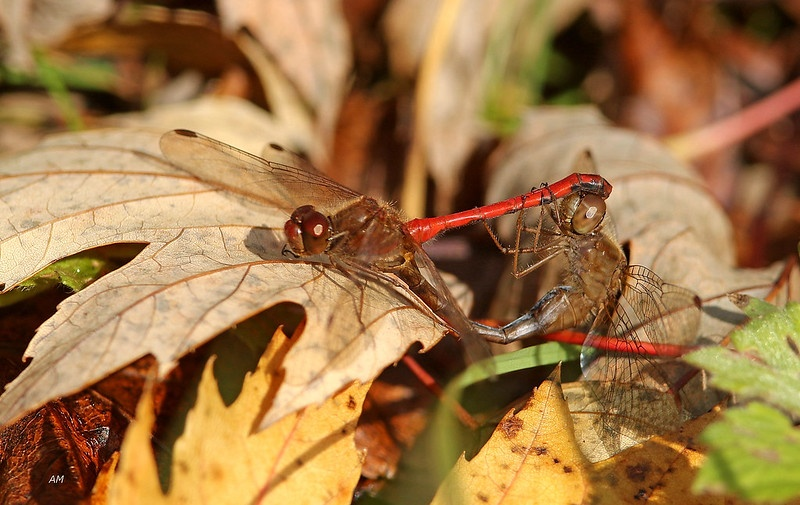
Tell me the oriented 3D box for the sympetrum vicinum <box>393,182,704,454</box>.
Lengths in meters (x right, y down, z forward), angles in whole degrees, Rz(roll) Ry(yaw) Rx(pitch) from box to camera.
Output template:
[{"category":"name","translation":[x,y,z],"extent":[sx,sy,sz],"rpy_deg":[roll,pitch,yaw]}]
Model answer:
[{"category":"sympetrum vicinum","translation":[0.753,0.380,3.995],"extent":[0.832,1.702,1.688],"rpy_deg":[2,1,6]}]

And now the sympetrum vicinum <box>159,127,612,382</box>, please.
[{"category":"sympetrum vicinum","translation":[0.128,-0.161,4.120],"extent":[2.192,0.714,2.935],"rpy_deg":[-9,-11,16]}]
